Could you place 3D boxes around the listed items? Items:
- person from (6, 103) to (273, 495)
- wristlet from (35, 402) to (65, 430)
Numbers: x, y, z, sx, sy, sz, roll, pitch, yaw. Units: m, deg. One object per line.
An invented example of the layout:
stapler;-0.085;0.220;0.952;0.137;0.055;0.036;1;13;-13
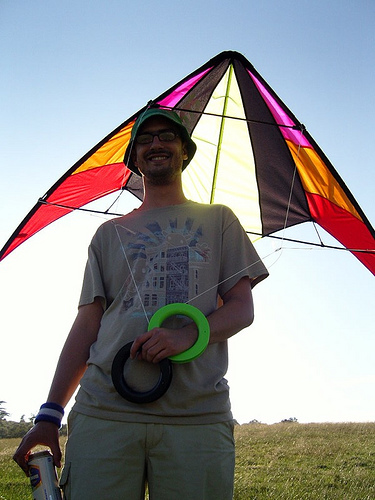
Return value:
person;-0.135;0.146;2.045;0.781;1.691;0.571;-29;-44;34
wristlet;-0.538;0.649;1.802;0.107;0.095;0.085;16;-38;-23
